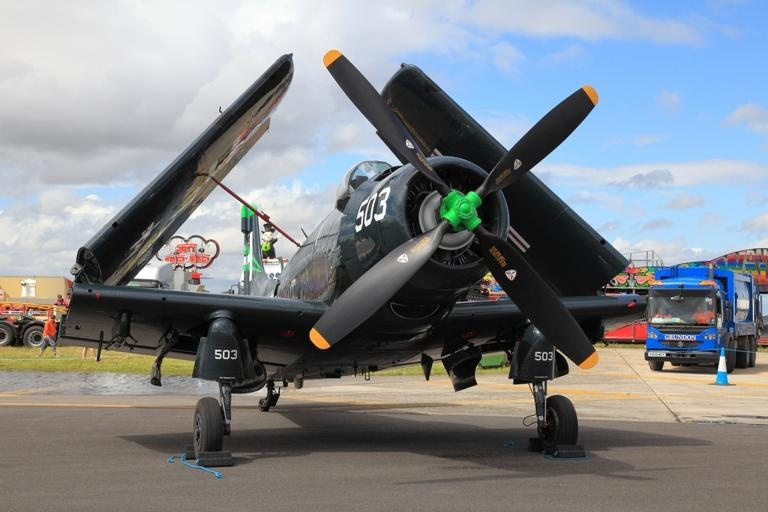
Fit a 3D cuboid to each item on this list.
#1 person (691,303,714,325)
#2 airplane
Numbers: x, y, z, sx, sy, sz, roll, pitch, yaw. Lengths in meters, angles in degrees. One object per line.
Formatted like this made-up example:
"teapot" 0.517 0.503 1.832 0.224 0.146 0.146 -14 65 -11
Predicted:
"person" 12.554 2.252 25.262 0.716 0.837 0.326 -3 -10 26
"airplane" -1.196 0.327 11.826 6.771 4.044 8.181 3 -8 -25
